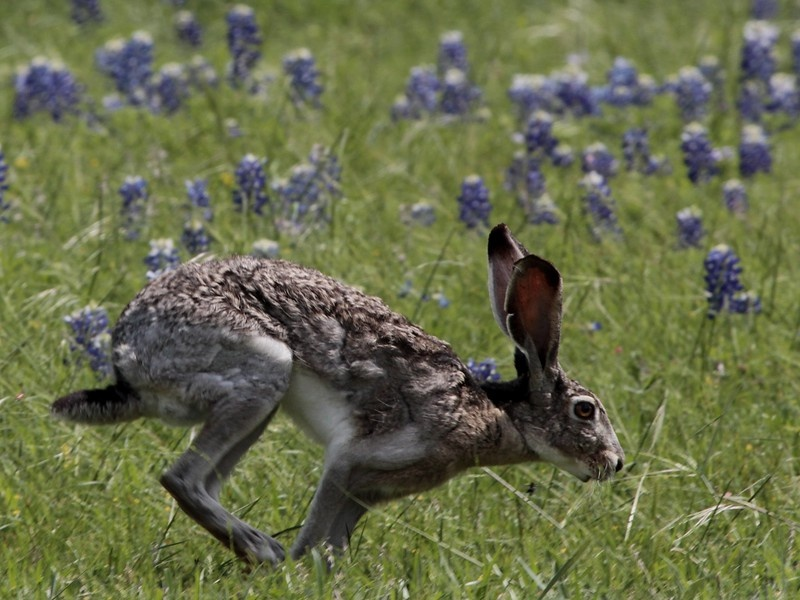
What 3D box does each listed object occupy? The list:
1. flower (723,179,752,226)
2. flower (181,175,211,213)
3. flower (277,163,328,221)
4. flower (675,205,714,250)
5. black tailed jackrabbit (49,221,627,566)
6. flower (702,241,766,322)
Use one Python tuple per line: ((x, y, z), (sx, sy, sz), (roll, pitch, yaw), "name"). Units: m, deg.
((1.826, -0.528, 6.575), (0.114, 0.208, 0.072), (-24, -7, 18), "flower")
((-1.160, -0.608, 6.941), (0.159, 0.202, 0.202), (7, 21, -11), "flower")
((-0.557, -0.586, 6.844), (0.193, 0.387, 0.173), (4, 12, 40), "flower")
((1.581, -0.385, 6.573), (0.158, 0.198, 0.147), (5, 21, -16), "flower")
((-0.261, 0.379, 5.196), (2.247, 1.365, 0.683), (6, 21, -17), "black tailed jackrabbit")
((1.703, -0.089, 6.328), (0.237, 0.422, 0.166), (-6, 6, -1), "flower")
